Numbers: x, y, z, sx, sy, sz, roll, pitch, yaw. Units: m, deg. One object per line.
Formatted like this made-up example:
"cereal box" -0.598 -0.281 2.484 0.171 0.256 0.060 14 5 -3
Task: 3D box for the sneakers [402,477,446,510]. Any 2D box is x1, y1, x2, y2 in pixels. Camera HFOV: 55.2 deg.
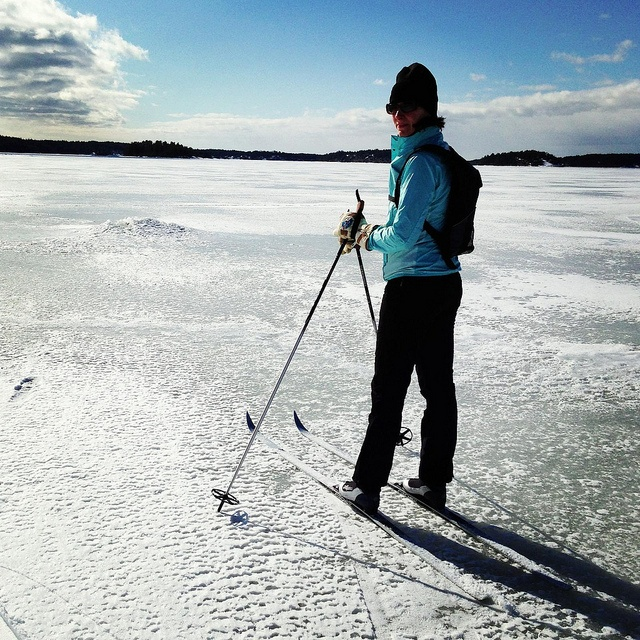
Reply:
"sneakers" 0.447 0.730 2.648 0.078 0.075 0.210 10 13 -47

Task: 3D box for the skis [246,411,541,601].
"skis" 0.351 0.630 2.006 1.345 0.138 0.100 42 7 -39

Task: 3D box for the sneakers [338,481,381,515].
"sneakers" 0.162 0.739 2.632 0.079 0.091 0.231 20 9 -47

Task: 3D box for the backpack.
"backpack" 0.489 -0.439 2.406 0.284 0.476 0.164 -15 25 -38
